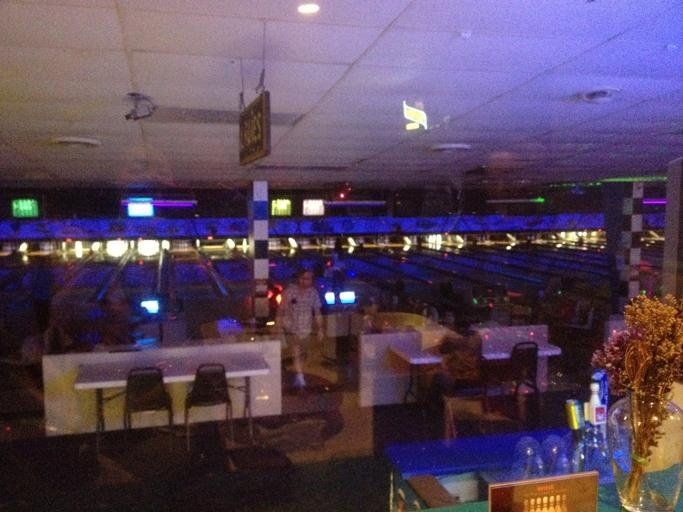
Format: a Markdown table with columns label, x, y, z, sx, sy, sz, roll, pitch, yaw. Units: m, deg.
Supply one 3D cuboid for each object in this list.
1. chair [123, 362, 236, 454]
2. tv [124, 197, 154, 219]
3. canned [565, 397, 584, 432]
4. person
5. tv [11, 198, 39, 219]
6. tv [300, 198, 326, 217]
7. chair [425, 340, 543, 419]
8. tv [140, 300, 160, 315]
| label | x | y | z | sx | sy | sz | roll | pitch | yaw |
| --- | --- | --- | --- | --- | --- | --- | --- | --- | --- |
| chair | -1.451 | 1.333 | 4.812 | 0.765 | 0.520 | 0.301 | -1 | 2 | -10 |
| tv | -3.145 | -0.758 | 8.592 | 0.489 | 0.303 | 0.119 | 0 | 6 | 4 |
| canned | 1.138 | 0.781 | 2.668 | 0.082 | 0.173 | 0.144 | 2 | 6 | 24 |
| person | -0.481 | 0.740 | 6.541 | 0.514 | 1.244 | 1.450 | -1 | 6 | -2 |
| tv | -4.596 | -0.696 | 7.967 | 0.300 | 0.253 | 0.097 | 0 | 3 | -16 |
| tv | -0.450 | -0.769 | 8.814 | 0.469 | 0.331 | 0.248 | -1 | 2 | -24 |
| chair | 1.376 | 1.186 | 5.434 | 0.615 | 0.647 | 0.980 | 0 | -3 | -6 |
| tv | -2.581 | 0.705 | 7.410 | 0.224 | 0.146 | 0.118 | 6 | -9 | -26 |
